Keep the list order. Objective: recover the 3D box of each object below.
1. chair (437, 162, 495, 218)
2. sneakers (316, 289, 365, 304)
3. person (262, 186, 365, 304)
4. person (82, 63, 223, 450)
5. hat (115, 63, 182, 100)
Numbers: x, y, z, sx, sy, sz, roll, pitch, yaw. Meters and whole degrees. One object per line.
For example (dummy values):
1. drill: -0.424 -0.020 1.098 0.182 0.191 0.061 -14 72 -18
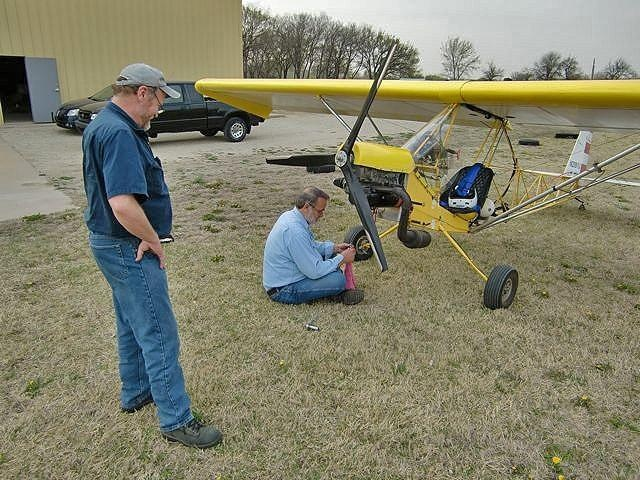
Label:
1. chair: 1.835 -0.612 5.480 0.493 0.302 0.886 9 38 30
2. sneakers: 0.214 0.598 4.693 0.491 0.225 0.168 4 -18 8
3. person: -0.143 -0.074 4.867 1.206 1.319 0.977 -3 28 -7
4. person: -1.100 0.169 2.811 0.570 2.352 0.832 -10 25 -28
5. hat: -1.074 -0.957 2.831 0.382 0.179 0.228 -5 -6 -25
